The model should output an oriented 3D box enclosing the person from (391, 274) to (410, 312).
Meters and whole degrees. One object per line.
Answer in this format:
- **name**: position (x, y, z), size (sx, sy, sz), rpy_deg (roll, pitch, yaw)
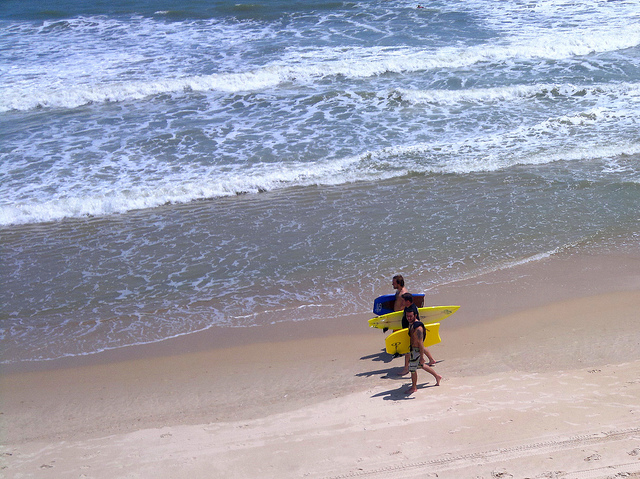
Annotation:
- **person**: position (2.195, 1.498, 28.980), size (0.518, 1.078, 0.465), rpy_deg (1, 61, 8)
